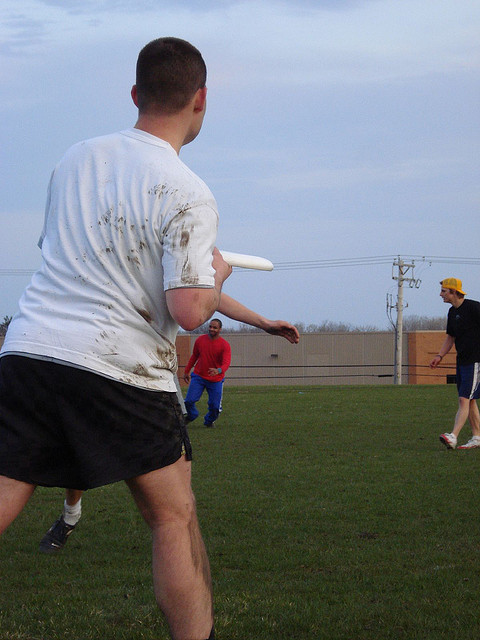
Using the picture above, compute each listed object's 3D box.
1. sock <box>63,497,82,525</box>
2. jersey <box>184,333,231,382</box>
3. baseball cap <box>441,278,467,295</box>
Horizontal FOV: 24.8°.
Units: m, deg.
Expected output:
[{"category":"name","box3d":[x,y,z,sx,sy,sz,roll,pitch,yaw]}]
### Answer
[{"category":"sock","box3d":[-0.940,1.058,6.122,0.089,0.156,0.163,14,-1,-4]},{"category":"jersey","box3d":[-0.368,0.459,12.861,0.553,0.575,0.420,16,19,26]},{"category":"baseball cap","box3d":[2.035,-0.342,10.481,0.097,0.143,0.193,15,-2,-36]}]
